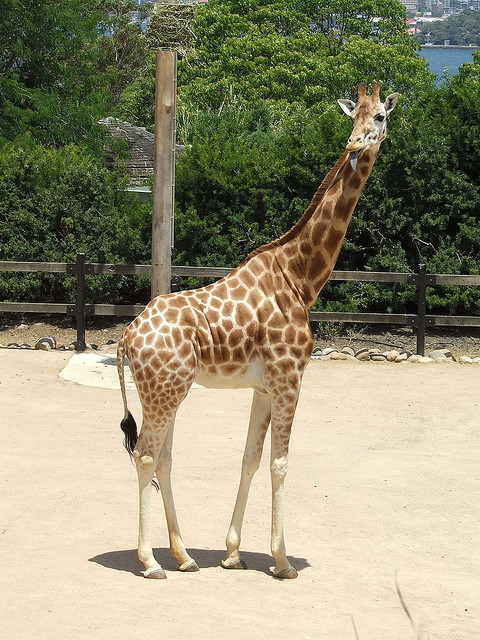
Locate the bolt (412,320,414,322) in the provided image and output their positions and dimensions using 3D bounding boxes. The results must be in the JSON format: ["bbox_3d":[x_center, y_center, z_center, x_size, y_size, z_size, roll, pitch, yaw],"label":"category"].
[{"bbox_3d":[2.320,0.002,14.457,0.018,0.027,0.007,3,7,11],"label":"bolt"}]

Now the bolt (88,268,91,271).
[{"bbox_3d":[-1.976,-0.676,14.111,0.011,0.025,0.043,1,3,44],"label":"bolt"}]

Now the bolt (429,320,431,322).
[{"bbox_3d":[2.563,0.002,14.549,0.024,0.027,0.007,-3,8,-33],"label":"bolt"}]

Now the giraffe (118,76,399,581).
[{"bbox_3d":[0.073,0.040,6.886,1.631,3.148,1.073,3,7,7],"label":"giraffe"}]

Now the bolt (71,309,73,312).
[{"bbox_3d":[-2.237,-0.139,14.287,0.021,0.026,0.006,1,2,4],"label":"bolt"}]

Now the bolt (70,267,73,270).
[{"bbox_3d":[-2.195,-0.682,14.024,0.031,0.038,0.008,-1,3,-33],"label":"bolt"}]
